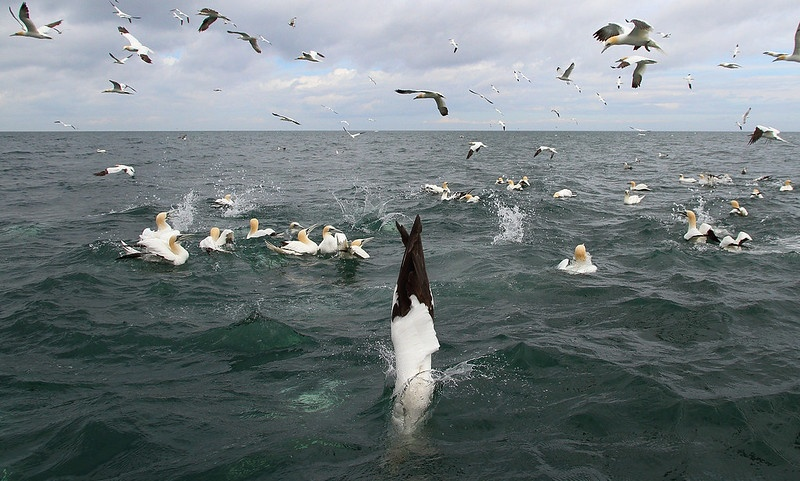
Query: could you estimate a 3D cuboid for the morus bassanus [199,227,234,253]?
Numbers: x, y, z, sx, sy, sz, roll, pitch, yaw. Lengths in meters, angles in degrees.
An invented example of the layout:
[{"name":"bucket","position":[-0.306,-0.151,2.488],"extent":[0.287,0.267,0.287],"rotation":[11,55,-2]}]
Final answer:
[{"name":"morus bassanus","position":[-6.538,-0.034,18.611],"extent":[0.873,0.563,1.363],"rotation":[-12,11,-22]}]
